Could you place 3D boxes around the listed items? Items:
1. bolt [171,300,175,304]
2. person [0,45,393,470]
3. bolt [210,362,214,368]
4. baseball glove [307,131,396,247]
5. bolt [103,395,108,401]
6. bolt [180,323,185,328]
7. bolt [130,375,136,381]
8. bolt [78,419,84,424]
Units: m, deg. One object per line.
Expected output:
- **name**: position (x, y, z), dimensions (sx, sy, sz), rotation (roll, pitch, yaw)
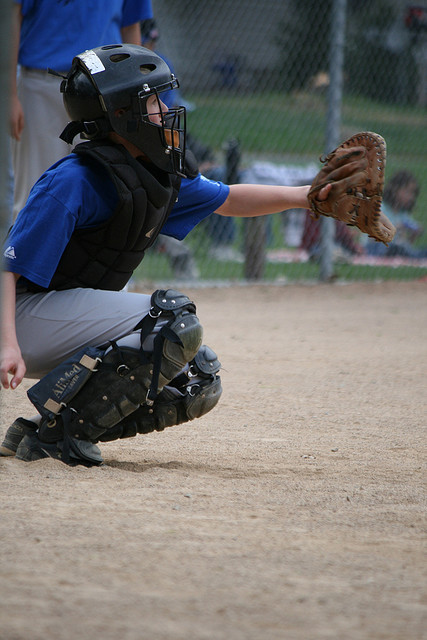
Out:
- **bolt**: position (-0.101, -0.044, 1.861), dimensions (0.009, 0.005, 0.012), rotation (5, -2, -20)
- **person**: position (-0.187, -0.195, 2.254), dimensions (0.934, 1.114, 1.116), rotation (2, 9, -20)
- **bolt**: position (-0.006, 0.119, 2.005), dimensions (0.012, 0.010, 0.004), rotation (0, -32, -26)
- **baseball glove**: position (0.370, -0.394, 2.193), dimensions (0.249, 0.317, 0.286), rotation (11, 23, 30)
- **bolt**: position (-0.264, 0.188, 1.827), dimensions (0.011, 0.008, 0.001), rotation (5, 10, -3)
- **bolt**: position (-0.076, 0.014, 1.826), dimensions (0.014, 0.011, 0.003), rotation (4, -8, 2)
- **bolt**: position (-0.196, 0.138, 1.814), dimensions (0.014, 0.011, 0.003), rotation (-3, 5, -5)
- **bolt**: position (-0.326, 0.247, 1.846), dimensions (0.015, 0.012, 0.003), rotation (-2, 4, 6)
